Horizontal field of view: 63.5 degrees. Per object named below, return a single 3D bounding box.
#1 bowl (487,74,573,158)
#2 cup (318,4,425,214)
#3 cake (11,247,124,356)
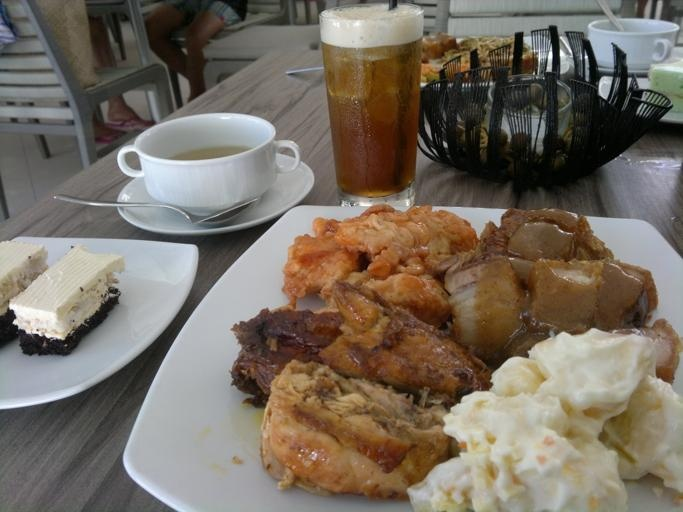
[{"bbox_3d":[0.426,-0.320,1.273,0.163,0.142,0.189,-7,31,0],"label":"bowl"},{"bbox_3d":[0.073,-0.297,1.179,0.198,0.393,0.132,-3,35,1],"label":"cup"},{"bbox_3d":[-0.473,0.082,1.003,0.125,0.102,0.179,15,37,14],"label":"cake"}]
